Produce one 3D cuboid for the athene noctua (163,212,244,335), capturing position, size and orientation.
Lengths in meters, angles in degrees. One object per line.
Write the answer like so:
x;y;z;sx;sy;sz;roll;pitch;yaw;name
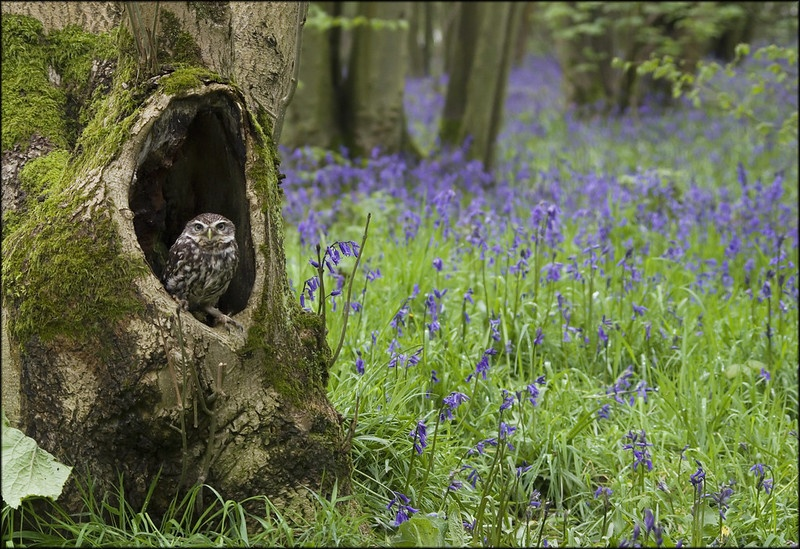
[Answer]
-1.316;-0.005;7.343;0.560;0.920;0.790;14;-12;-32;athene noctua
